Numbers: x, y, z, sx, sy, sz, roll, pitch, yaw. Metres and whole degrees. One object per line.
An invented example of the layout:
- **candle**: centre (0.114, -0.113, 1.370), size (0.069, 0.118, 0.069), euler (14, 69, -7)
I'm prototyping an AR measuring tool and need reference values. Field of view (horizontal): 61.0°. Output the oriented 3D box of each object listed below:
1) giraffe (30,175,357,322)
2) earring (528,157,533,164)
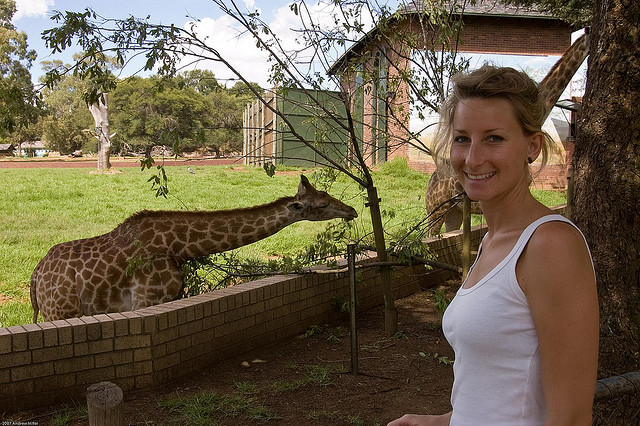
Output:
- **giraffe**: centre (-1.615, 0.732, 6.706), size (4.004, 2.250, 1.101), euler (-1, 15, 2)
- **earring**: centre (1.128, -0.288, 2.909), size (0.021, 0.036, 0.079), euler (4, 11, 23)
